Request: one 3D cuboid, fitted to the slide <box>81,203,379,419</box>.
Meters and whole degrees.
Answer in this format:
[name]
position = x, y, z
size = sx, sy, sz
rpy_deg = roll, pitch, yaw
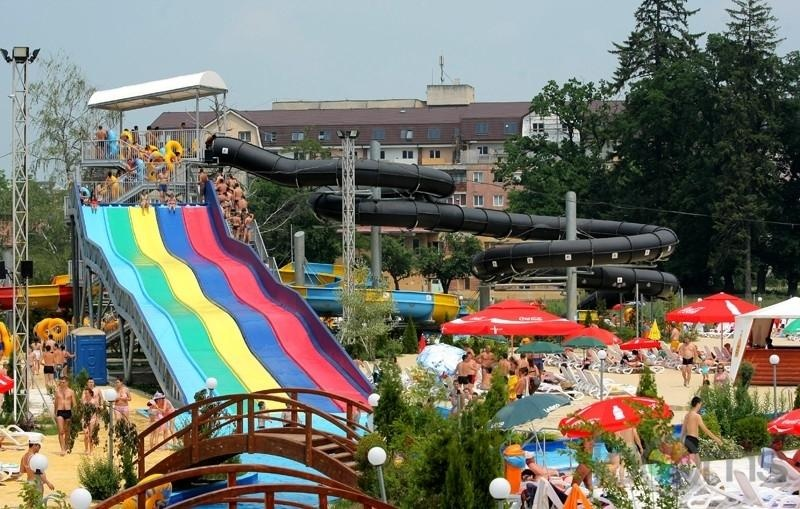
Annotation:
[slide]
position = -7.939, 2.315, 79.092
size = 7.291, 6.330, 22.505
rpy_deg = -2, 14, -26
